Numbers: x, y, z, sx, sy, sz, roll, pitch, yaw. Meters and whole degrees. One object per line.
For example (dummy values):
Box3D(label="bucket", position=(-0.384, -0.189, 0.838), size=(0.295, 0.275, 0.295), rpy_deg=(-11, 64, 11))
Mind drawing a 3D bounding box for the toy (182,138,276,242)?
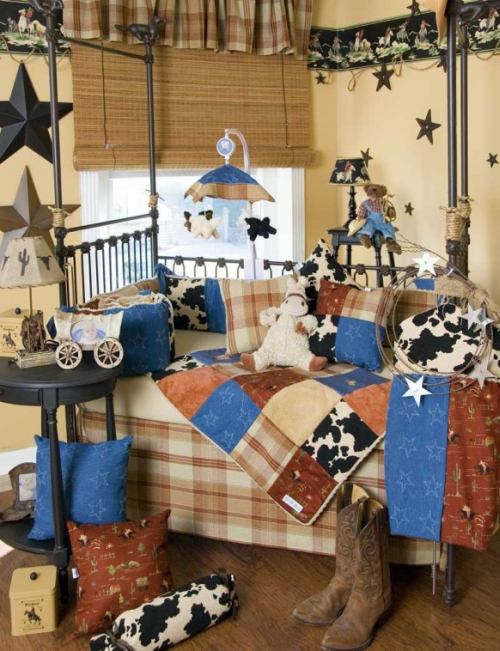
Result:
Box3D(label="toy", position=(-0.102, -0.661, 2.909), size=(0.439, 0.356, 0.390), rpy_deg=(0, 2, 19))

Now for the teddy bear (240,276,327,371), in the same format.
Box3D(label="teddy bear", position=(0.151, -0.012, 2.254), size=(0.315, 0.355, 0.250), rpy_deg=(4, 9, 20))

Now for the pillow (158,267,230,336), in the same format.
Box3D(label="pillow", position=(-0.304, -0.091, 2.870), size=(0.155, 0.320, 0.475), rpy_deg=(-19, -11, 31))

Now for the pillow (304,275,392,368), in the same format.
Box3D(label="pillow", position=(0.366, -0.007, 2.170), size=(0.320, 0.284, 0.096), rpy_deg=(7, -8, 42))

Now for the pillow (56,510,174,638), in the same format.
Box3D(label="pillow", position=(-0.403, 0.738, 1.738), size=(0.305, 0.287, 0.108), rpy_deg=(-12, -24, -32))

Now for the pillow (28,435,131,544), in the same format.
Box3D(label="pillow", position=(-0.546, 0.535, 1.904), size=(0.395, 0.370, 0.139), rpy_deg=(-3, -14, -4))

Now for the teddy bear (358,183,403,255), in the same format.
Box3D(label="teddy bear", position=(0.774, -0.693, 3.619), size=(0.247, 0.250, 0.391), rpy_deg=(-1, -2, 5))

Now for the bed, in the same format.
Box3D(label="bed", position=(0.278, -0.037, 1.860), size=(1.523, 0.765, 0.852), rpy_deg=(4, 11, 32))
